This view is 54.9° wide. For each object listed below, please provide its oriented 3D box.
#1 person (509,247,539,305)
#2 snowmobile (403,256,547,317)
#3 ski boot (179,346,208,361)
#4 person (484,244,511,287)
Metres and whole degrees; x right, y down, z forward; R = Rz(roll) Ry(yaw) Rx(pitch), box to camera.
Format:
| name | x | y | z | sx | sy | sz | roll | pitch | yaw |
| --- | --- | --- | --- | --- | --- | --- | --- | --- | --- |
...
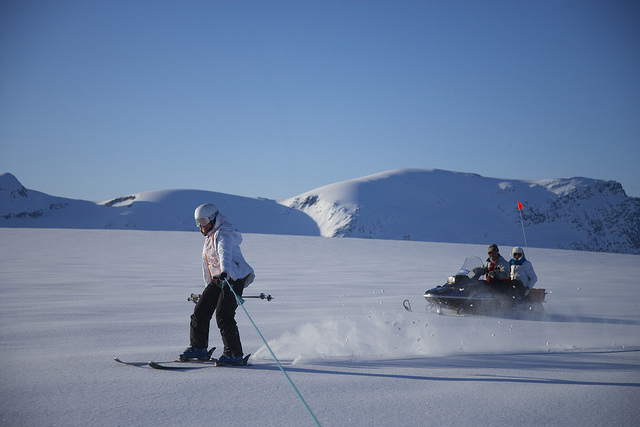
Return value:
| name | x | y | z | sx | sy | sz | roll | pitch | yaw |
| --- | --- | --- | --- | --- | --- | --- | --- | --- | --- |
| person | 5.685 | 1.747 | 17.316 | 0.708 | 1.552 | 0.997 | 0 | -2 | 17 |
| snowmobile | 4.365 | 2.053 | 17.498 | 3.804 | 1.575 | 1.821 | 0 | -2 | 10 |
| ski boot | -2.406 | 2.687 | 11.771 | 0.633 | 0.302 | 0.209 | 6 | -9 | -14 |
| person | 5.020 | 1.471 | 17.456 | 0.687 | 1.167 | 0.906 | 0 | -2 | 15 |
